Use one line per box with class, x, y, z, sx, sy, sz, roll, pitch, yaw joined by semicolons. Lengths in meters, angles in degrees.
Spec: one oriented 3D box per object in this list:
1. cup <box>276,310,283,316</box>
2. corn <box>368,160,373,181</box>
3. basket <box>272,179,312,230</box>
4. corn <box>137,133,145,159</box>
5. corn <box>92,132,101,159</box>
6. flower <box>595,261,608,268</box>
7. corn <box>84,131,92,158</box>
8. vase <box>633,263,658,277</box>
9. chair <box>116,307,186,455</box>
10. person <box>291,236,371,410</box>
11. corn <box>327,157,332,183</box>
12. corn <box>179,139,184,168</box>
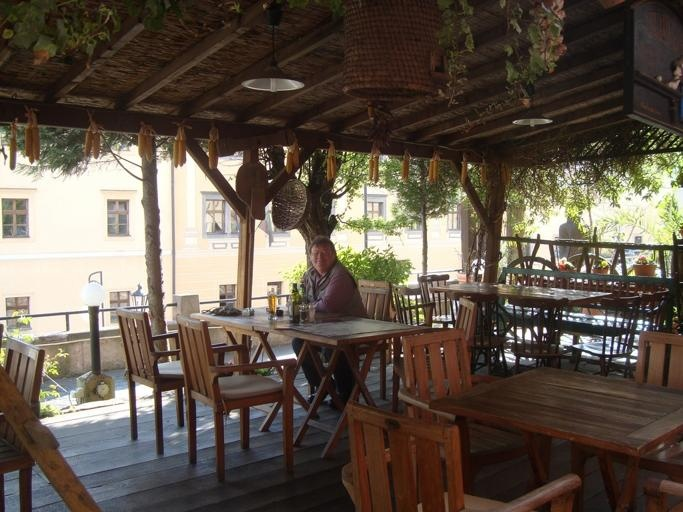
cup;-0.568;0.531;5.164;0.048;0.035;0.052;1;2;0
corn;0.316;-0.912;5.882;0.046;0.200;0.116;-1;6;4
basket;-0.630;-0.614;6.746;0.431;0.627;0.139;11;18;28
corn;-1.985;-1.120;5.537;0.067;0.243;0.195;-3;6;-19
corn;-2.277;-1.053;5.171;0.069;0.291;0.439;-4;6;-26
flower;4.040;0.133;8.634;0.176;0.080;0.173;-9;5;-35
corn;-2.330;-1.036;5.133;0.063;0.251;0.257;-3;6;-24
vase;4.160;0.194;7.631;0.213;0.172;0.225;-1;-6;12
chair;-1.561;0.959;4.618;0.499;1.108;0.959;-3;6;-21
person;-0.103;0.598;5.546;0.671;1.531;0.775;-5;-8;25
corn;-0.113;-0.963;6.078;0.083;0.218;0.088;-1;6;-2
corn;-1.599;-1.028;5.573;0.067;0.243;0.215;-2;6;-13
